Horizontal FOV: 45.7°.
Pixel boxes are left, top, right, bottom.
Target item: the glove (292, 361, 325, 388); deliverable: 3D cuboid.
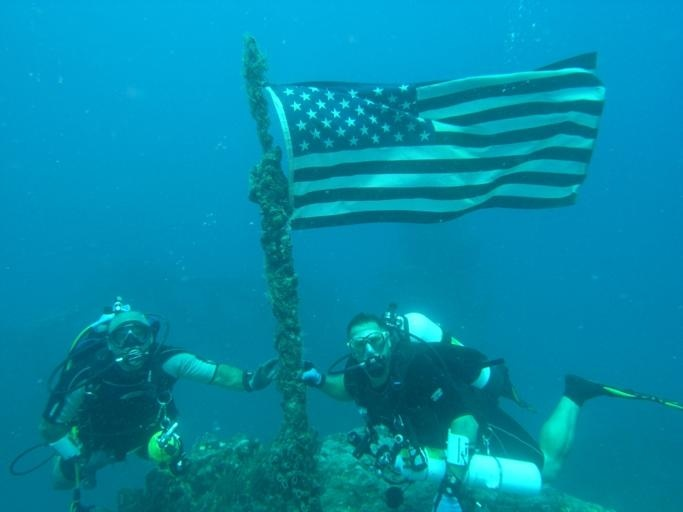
[{"bbox_3d":[-0.784,2.849,19.187,0.737,0.819,0.556,-2,21,0],"label":"glove"}]
